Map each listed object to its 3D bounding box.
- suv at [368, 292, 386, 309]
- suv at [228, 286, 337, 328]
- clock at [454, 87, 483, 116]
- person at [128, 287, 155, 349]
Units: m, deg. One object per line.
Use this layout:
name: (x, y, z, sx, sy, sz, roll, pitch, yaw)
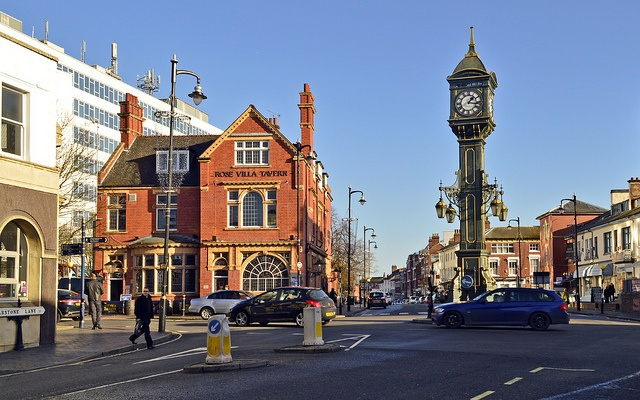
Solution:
suv: (5.051, 9.155, 96.752, 1.477, 1.740, 2.784, -4, -13, 6)
suv: (-2.245, 6.430, 62.875, 5.920, 2.387, 1.107, -6, -14, 17)
clock: (9.238, -6.045, 66.397, 1.891, 1.750, 0.113, -5, -16, 7)
person: (-8.741, 5.947, 53.811, 1.485, 2.791, 1.181, -4, -5, 38)
